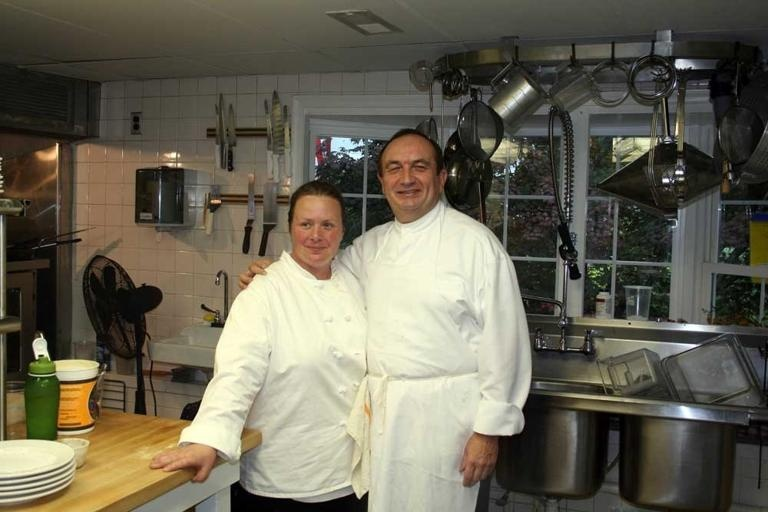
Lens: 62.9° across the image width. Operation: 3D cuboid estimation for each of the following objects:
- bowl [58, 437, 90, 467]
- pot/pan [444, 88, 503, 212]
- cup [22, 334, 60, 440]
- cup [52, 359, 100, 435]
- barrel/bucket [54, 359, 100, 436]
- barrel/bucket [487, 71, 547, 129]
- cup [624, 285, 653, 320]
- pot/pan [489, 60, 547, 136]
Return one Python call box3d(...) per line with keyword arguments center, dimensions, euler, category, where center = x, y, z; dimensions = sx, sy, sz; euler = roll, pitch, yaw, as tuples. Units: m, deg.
box3d(center=(-1.038, 0.664, 2.133), dimensions=(0.094, 0.067, 0.094), euler=(-1, -13, 0), category="bowl")
box3d(center=(0.496, -0.549, 3.436), dimensions=(0.184, 0.616, 0.404), euler=(14, 28, 39), category="pot/pan")
box3d(center=(-1.219, 0.497, 2.259), dimensions=(0.117, 0.391, 0.099), euler=(2, 3, -14), category="cup")
box3d(center=(-1.130, 0.558, 2.415), dimensions=(0.209, 0.216, 0.200), euler=(-3, -11, -1), category="cup")
box3d(center=(-1.123, 0.536, 2.435), dimensions=(0.232, 0.243, 0.228), euler=(2, 0, 0), category="barrel/bucket")
box3d(center=(0.695, -0.808, 3.289), dimensions=(0.283, 0.291, 0.178), euler=(1, 1, 13), category="barrel/bucket")
box3d(center=(1.518, 0.280, 3.779), dimensions=(0.134, 0.192, 0.276), euler=(2, 2, 21), category="cup")
box3d(center=(0.680, -0.811, 3.304), dimensions=(0.286, 0.330, 0.253), euler=(-34, 19, -23), category="pot/pan")
